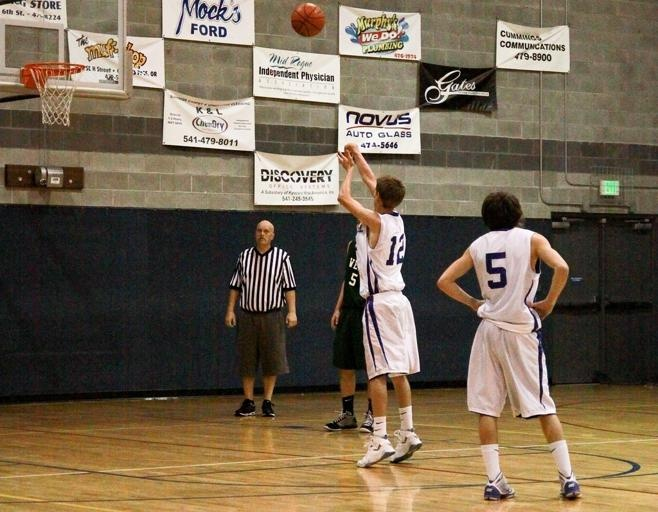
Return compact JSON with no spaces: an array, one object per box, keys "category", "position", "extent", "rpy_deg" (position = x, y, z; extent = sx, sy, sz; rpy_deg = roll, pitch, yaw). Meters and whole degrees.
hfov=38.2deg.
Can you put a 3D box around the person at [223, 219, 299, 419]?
[{"category":"person","position":[-0.786,0.702,11.008],"extent":[0.801,2.233,0.454],"rpy_deg":[-2,1,-7]}]

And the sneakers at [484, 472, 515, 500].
[{"category":"sneakers","position":[1.275,1.713,7.155],"extent":[0.110,0.196,0.303],"rpy_deg":[0,-1,41]}]

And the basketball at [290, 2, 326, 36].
[{"category":"basketball","position":[-0.301,-3.002,12.393],"extent":[0.388,0.457,0.403],"rpy_deg":[-16,1,-23]}]

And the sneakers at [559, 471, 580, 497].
[{"category":"sneakers","position":[1.808,1.682,7.065],"extent":[0.169,0.191,0.129],"rpy_deg":[-2,1,-4]}]

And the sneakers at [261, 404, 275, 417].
[{"category":"sneakers","position":[-0.697,1.736,10.977],"extent":[0.156,0.176,0.303],"rpy_deg":[-2,1,-5]}]

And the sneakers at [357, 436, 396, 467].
[{"category":"sneakers","position":[0.414,1.679,8.202],"extent":[0.248,0.180,0.086],"rpy_deg":[-35,6,17]}]

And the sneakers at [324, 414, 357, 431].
[{"category":"sneakers","position":[0.135,1.733,10.056],"extent":[0.370,0.199,0.141],"rpy_deg":[4,-6,-22]}]

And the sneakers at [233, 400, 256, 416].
[{"category":"sneakers","position":[-0.994,1.743,11.054],"extent":[0.263,0.183,0.137],"rpy_deg":[-3,-9,29]}]

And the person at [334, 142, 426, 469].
[{"category":"person","position":[0.451,0.381,8.287],"extent":[0.641,2.806,0.710],"rpy_deg":[-2,1,3]}]

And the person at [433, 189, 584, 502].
[{"category":"person","position":[1.375,0.648,7.164],"extent":[0.939,2.287,0.380],"rpy_deg":[-2,1,7]}]
